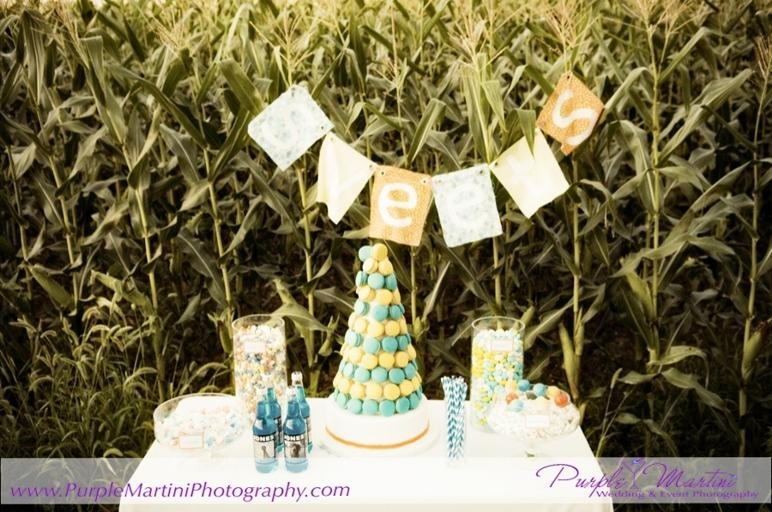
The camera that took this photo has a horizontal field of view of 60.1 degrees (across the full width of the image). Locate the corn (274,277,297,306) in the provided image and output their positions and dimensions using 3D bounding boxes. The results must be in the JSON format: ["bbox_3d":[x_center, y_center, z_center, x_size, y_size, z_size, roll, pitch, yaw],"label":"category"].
[{"bbox_3d":[-0.596,0.201,3.899,0.097,0.168,0.274,-6,21,-13],"label":"corn"}]

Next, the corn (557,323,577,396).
[{"bbox_3d":[1.056,0.605,3.833,0.065,0.501,0.079,-12,5,-27],"label":"corn"}]

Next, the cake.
[{"bbox_3d":[-0.040,0.394,3.182,0.462,0.936,0.491,3,8,15],"label":"cake"}]

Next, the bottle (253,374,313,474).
[{"bbox_3d":[-0.479,0.776,3.020,0.263,0.382,0.168,-4,19,-8],"label":"bottle"}]

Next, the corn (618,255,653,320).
[{"bbox_3d":[1.388,0.157,3.688,0.218,0.375,0.186,8,21,23],"label":"corn"}]

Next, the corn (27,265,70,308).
[{"bbox_3d":[-2.067,0.184,4.084,0.073,0.280,0.056,-29,21,11],"label":"corn"}]

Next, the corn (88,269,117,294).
[{"bbox_3d":[-1.705,0.143,4.009,0.177,0.049,0.059,40,2,-30],"label":"corn"}]

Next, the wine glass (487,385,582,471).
[{"bbox_3d":[0.657,0.715,3.016,0.345,0.274,0.356,-11,15,-37],"label":"wine glass"}]

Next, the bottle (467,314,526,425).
[{"bbox_3d":[0.527,0.507,3.244,0.232,0.560,0.237,-1,10,0],"label":"bottle"}]
